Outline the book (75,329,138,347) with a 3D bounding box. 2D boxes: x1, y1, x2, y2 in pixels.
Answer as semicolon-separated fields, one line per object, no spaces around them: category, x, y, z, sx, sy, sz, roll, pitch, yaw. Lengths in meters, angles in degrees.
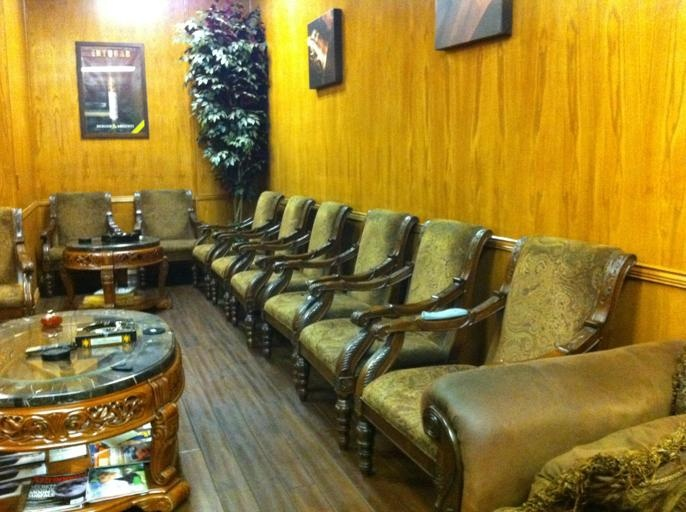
book;-1.200;0.416;2.663;0.293;0.050;0.141;-3;12;-13
